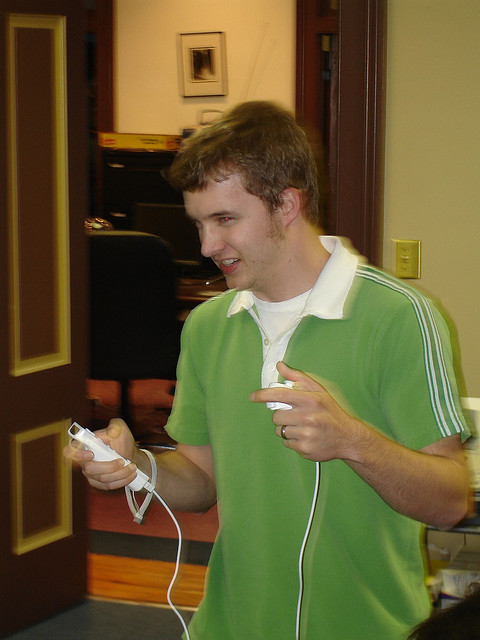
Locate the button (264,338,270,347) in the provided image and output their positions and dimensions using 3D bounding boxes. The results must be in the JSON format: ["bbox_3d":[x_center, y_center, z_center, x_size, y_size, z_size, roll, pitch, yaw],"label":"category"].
[{"bbox_3d":[0.038,0.030,0.878,0.006,0.008,0.009,3,-7,-39],"label":"button"}]

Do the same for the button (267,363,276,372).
[{"bbox_3d":[0.043,0.065,0.844,0.012,0.011,0.003,0,-6,14],"label":"button"}]

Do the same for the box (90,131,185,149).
[{"bbox_3d":[-0.607,-1.057,3.578,0.499,0.114,0.161,2,9,13],"label":"box"}]
